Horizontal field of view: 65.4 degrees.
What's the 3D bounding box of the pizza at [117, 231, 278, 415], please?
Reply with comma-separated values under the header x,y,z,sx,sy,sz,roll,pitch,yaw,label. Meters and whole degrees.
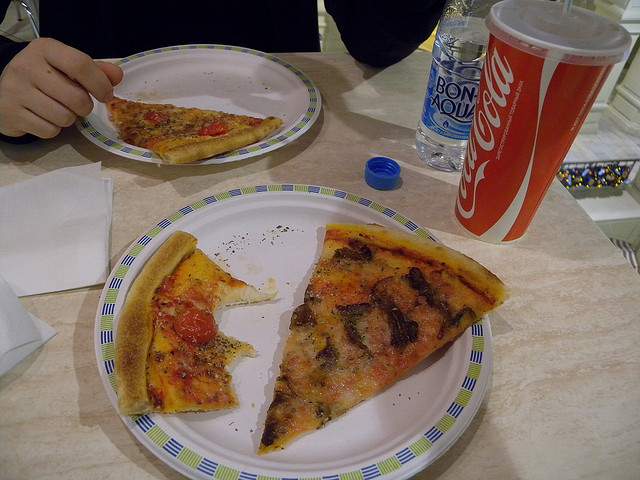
x,y,z,sx,sy,sz,roll,pitch,yaw,label
-0.397,0.292,1.574,0.467,0.118,0.592,4,50,-10,pizza
